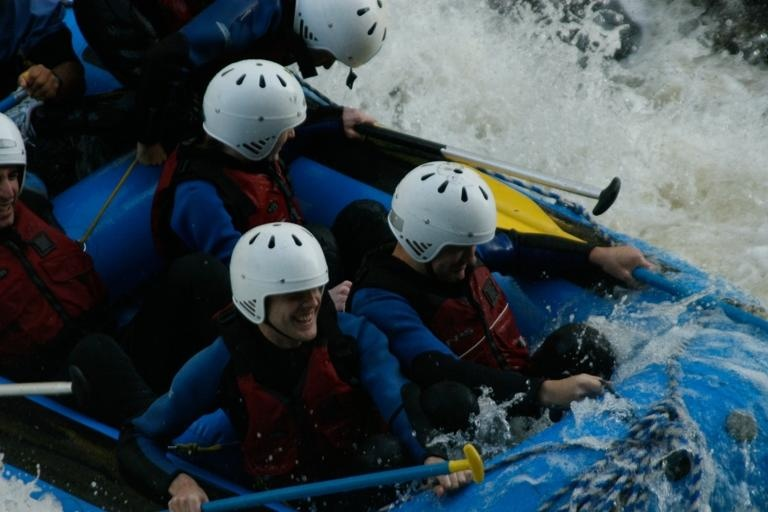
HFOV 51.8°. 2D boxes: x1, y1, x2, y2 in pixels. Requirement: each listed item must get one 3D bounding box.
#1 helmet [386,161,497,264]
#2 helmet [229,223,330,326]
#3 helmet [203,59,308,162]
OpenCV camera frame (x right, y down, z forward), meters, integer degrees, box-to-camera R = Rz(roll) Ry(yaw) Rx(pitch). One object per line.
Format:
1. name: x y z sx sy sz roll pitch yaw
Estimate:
1. helmet: 0.324 -0.284 4.344 0.511 0.473 0.436 0 23 25
2. helmet: -0.545 0.009 4.054 0.480 0.471 0.392 14 20 28
3. helmet: -0.750 -0.899 4.806 0.537 0.540 0.496 3 37 0
